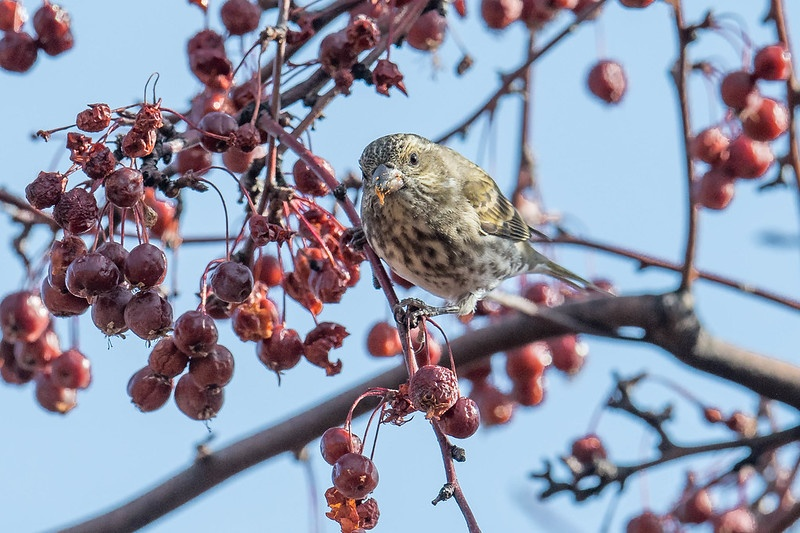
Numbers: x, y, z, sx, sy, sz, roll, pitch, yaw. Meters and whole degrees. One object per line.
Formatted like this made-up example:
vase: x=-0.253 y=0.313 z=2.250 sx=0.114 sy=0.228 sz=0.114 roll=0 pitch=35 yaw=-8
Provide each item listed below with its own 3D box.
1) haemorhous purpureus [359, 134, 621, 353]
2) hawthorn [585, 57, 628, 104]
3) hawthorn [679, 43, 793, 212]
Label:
haemorhous purpureus: x=0.437 y=-0.271 z=7.083 sx=1.746 sy=0.719 sz=1.196 roll=-7 pitch=-82 yaw=-46
hawthorn: x=1.055 y=-0.938 z=5.856 sx=0.194 sy=0.100 sz=0.217 roll=5 pitch=-79 yaw=-4
hawthorn: x=1.689 y=-0.675 z=5.642 sx=0.412 sy=0.200 sz=0.859 roll=29 pitch=-82 yaw=-8
